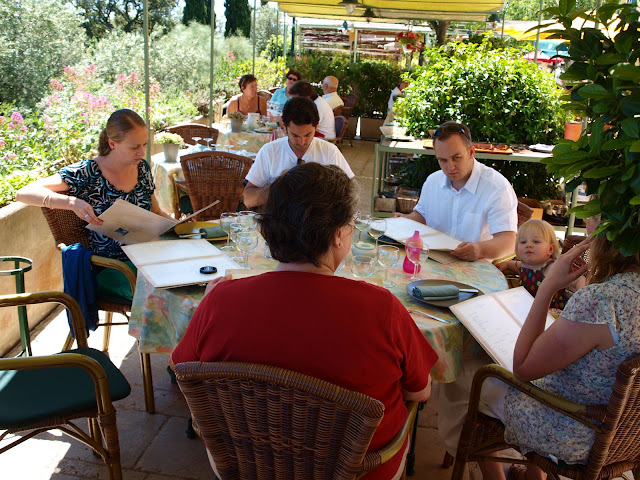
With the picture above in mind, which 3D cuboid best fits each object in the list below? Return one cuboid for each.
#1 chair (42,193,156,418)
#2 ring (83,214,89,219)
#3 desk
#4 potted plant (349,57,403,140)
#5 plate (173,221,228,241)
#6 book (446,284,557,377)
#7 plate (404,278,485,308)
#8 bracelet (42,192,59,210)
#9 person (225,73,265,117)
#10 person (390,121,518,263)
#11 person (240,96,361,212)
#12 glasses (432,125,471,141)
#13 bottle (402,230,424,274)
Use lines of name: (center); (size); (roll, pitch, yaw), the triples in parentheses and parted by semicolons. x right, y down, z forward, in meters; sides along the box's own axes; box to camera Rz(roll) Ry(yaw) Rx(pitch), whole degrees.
chair: (-1.315, 0.333, 3.001); (0.814, 1.178, 0.713); (9, 9, -20)
ring: (-1.290, -0.132, 2.616); (0.021, 0.022, 0.006); (12, -19, 3)
desk: (1.784, -0.736, 4.874); (1.493, 1.435, 0.533); (14, 54, 21)
potted plant: (1.477, -4.012, 13.401); (1.879, 2.363, 1.641); (5, 24, 5)
plate: (-0.667, -0.050, 2.719); (0.175, 0.032, 0.181); (8, 24, 5)
book: (0.759, 0.351, 2.024); (0.364, 0.055, 0.336); (-11, 46, -36)
plate: (0.557, 0.236, 2.123); (0.247, 0.061, 0.146); (2, 2, -22)
bracelet: (-1.579, -0.229, 2.789); (0.079, 0.044, 0.092); (-4, 44, -1)
person: (-1.179, -2.336, 7.733); (0.692, 0.678, 0.352); (-6, 23, -23)
person: (0.930, -0.348, 3.263); (0.622, 0.860, 0.875); (-18, 21, -28)
person: (-0.166, -0.413, 3.827); (0.891, 1.404, 0.627); (-1, 28, -6)
glasses: (0.855, -0.679, 3.068); (0.130, 0.076, 0.160); (0, 2, 11)
bottle: (0.460, 0.071, 2.354); (0.101, 0.232, 0.103); (9, 14, -2)
